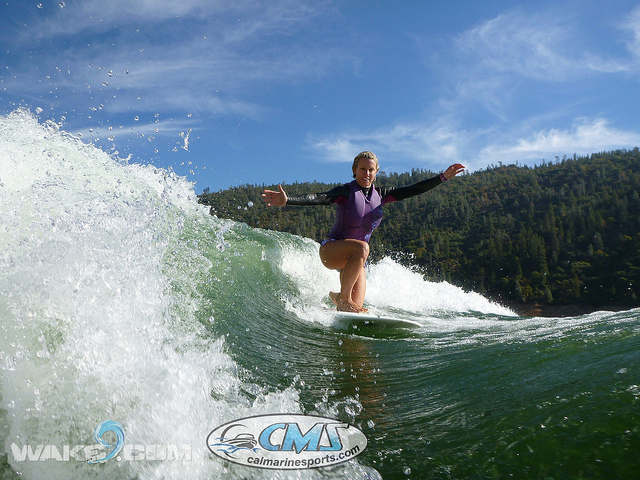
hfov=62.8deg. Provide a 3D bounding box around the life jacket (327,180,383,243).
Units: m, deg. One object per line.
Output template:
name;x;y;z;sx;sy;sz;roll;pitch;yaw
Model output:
life jacket;0.443;-0.367;6.350;0.612;0.824;0.486;5;7;-25
